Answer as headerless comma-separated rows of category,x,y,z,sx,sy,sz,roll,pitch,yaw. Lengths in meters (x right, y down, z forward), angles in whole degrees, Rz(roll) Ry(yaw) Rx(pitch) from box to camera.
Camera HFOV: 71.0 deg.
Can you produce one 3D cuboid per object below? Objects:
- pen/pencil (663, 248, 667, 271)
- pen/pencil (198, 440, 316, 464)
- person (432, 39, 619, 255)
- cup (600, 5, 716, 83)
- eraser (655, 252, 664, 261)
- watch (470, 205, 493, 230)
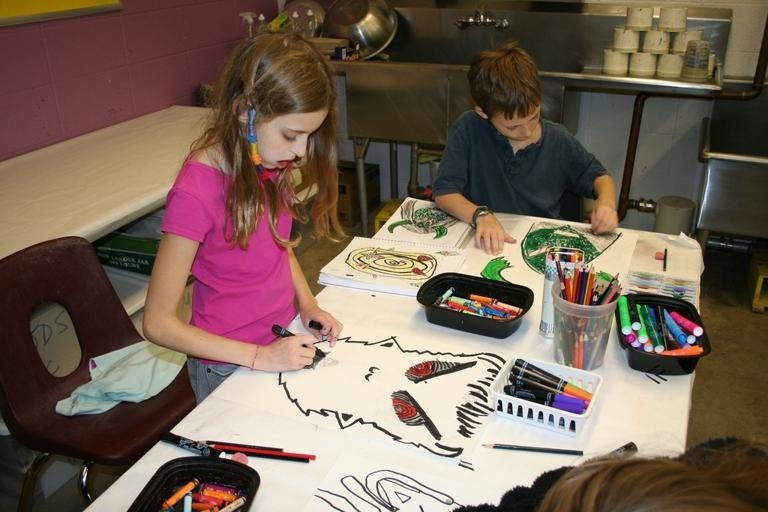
pen/pencil,0.878,0.014,1.681,0.008,0.013,0.117,-33,9,37
pen/pencil,-0.270,0.424,1.176,0.249,0.027,0.028,2,34,6
person,0.571,-0.306,2.168,0.689,0.910,0.689,0,51,13
cup,1.515,-1.143,2.889,0.575,0.331,0.306,19,39,28
eraser,0.876,0.000,1.704,0.024,0.014,0.025,-1,25,6
watch,0.328,-0.139,1.937,0.097,0.090,0.063,-17,42,-37
